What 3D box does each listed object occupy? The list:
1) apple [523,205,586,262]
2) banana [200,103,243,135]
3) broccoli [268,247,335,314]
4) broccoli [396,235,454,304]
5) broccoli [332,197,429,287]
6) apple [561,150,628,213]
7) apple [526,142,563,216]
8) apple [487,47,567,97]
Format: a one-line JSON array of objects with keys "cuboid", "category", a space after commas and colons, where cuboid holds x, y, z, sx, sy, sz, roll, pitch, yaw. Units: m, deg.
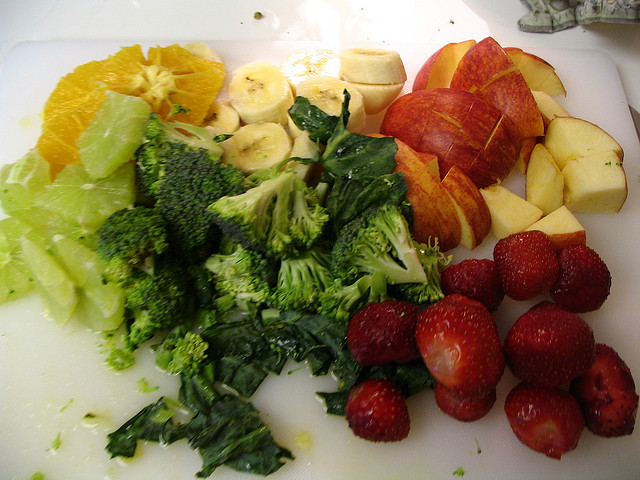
[{"cuboid": [1.099, -0.026, 2.354, 0.265, 0.249, 0.143, -7, 101, 22], "category": "apple"}, {"cuboid": [-0.508, -0.582, 2.472, 0.205, 0.045, 0.180, 19, 45, -17], "category": "banana"}, {"cuboid": [-0.064, 0.166, 2.199, 0.307, 0.125, 0.270, 21, 80, -15], "category": "broccoli"}, {"cuboid": [0.476, 0.105, 2.209, 0.196, 0.196, 0.189, -4, 40, 14], "category": "broccoli"}, {"cuboid": [0.267, 0.031, 2.213, 0.405, 0.184, 0.326, 29, 88, -15], "category": "broccoli"}, {"cuboid": [1.318, -0.259, 2.522, 0.349, 0.219, 0.260, -3, 68, 4], "category": "apple"}, {"cuboid": [1.080, -0.282, 2.492, 0.229, 0.167, 0.299, 26, 63, -31], "category": "apple"}, {"cuboid": [1.059, -0.818, 2.569, 0.331, 0.301, 0.108, 40, 102, 6], "category": "apple"}]
